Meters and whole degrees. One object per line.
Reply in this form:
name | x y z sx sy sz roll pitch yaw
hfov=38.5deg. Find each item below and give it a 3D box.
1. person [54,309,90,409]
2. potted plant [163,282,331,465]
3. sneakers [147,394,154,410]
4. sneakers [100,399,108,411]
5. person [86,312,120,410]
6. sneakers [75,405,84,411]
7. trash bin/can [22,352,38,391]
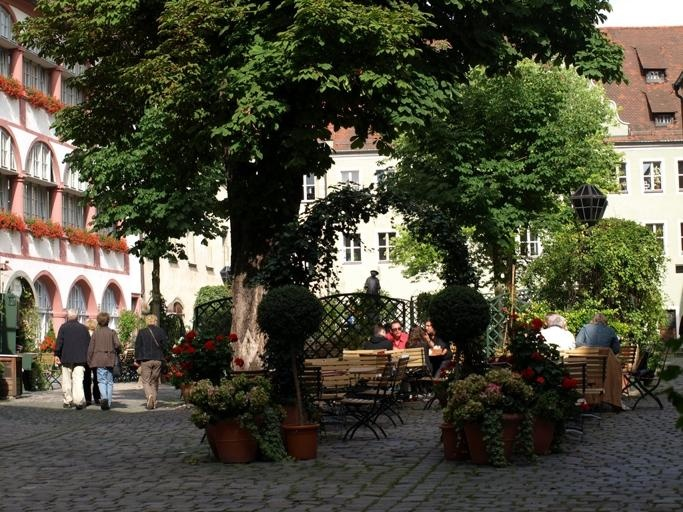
person | -5.753 2.200 20.970 0.724 2.113 0.728 -2 -7 -15
potted plant | -1.222 1.828 14.724 2.454 2.697 2.225 3 -8 -20
sneakers | -3.989 3.041 20.420 0.143 0.296 0.125 1 8 -22
sneakers | -4.954 3.089 20.466 0.150 0.227 0.209 -2 -7 -16
person | -5.050 2.211 20.757 0.673 2.053 0.727 -2 -7 -15
sneakers | -5.531 3.180 20.661 0.174 0.100 0.332 -2 -7 -11
trash bin/can | -8.260 3.089 25.850 0.451 0.972 1.074 -1 -1 -7
